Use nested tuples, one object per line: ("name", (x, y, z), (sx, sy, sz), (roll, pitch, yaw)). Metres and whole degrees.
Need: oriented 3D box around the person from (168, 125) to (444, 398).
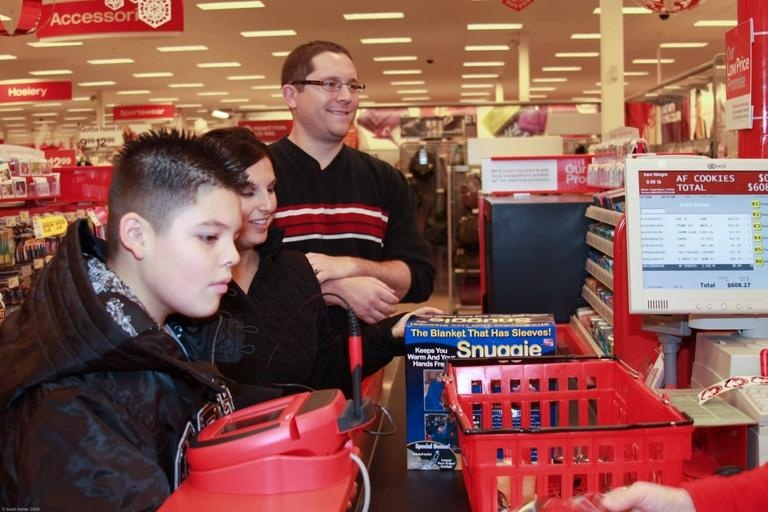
("person", (-0.411, 0.080, 2.093), (0.997, 0.973, 0.579), (11, 31, 24))
